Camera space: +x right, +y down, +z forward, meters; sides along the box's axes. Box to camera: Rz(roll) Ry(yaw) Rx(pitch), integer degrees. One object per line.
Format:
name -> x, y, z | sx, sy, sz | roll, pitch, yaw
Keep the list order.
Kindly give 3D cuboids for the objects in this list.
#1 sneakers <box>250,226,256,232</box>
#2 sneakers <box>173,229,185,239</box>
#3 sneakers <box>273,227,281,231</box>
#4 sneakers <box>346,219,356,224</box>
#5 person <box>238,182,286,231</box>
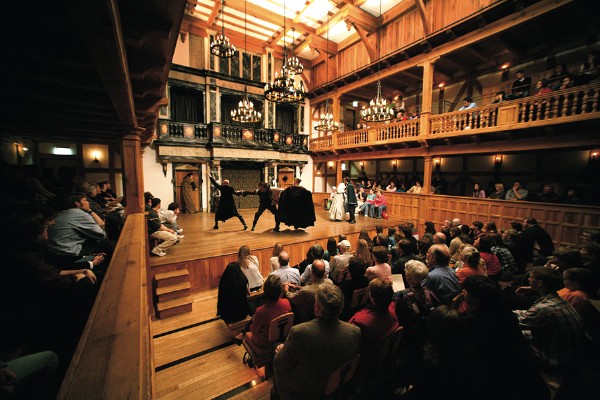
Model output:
sneakers -> -1.499, 0.924, 12.484 | 0.095, 0.208, 0.213 | 10, 21, 22
sneakers -> -3.543, 0.981, 11.304 | 0.185, 0.324, 0.141 | -20, 39, -40
sneakers -> -0.744, 0.933, 12.562 | 0.205, 0.207, 0.126 | -3, 8, -14
sneakers -> 1.870, 0.792, 14.093 | 0.340, 0.242, 0.117 | 3, 0, 6
person -> -1.226, 0.176, 12.257 | 1.554, 1.506, 0.894 | -3, -17, 0
